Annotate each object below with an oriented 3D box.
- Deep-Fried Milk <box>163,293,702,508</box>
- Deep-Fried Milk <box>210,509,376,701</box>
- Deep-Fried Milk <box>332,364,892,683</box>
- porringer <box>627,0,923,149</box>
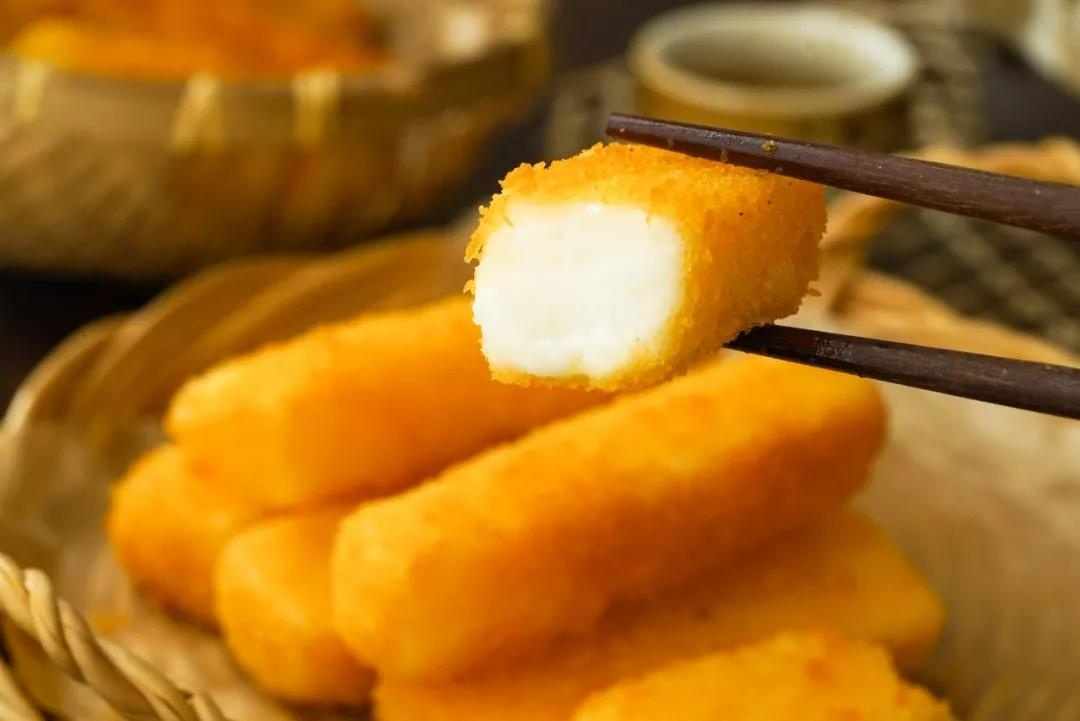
[{"bbox_3d":[-0.139,-0.021,1.502,0.410,0.145,0.195,-17,22,-17],"label":"Deep-Fried Milk"},{"bbox_3d":[-0.228,0.231,1.444,0.148,0.054,0.160,-16,82,14],"label":"Deep-Fried Milk"},{"bbox_3d":[0.080,0.138,1.503,0.608,0.205,0.188,-21,35,-27],"label":"Deep-Fried Milk"},{"bbox_3d":[0.303,-0.373,1.898,0.273,0.167,0.281,6,34,5],"label":"porringer"}]
